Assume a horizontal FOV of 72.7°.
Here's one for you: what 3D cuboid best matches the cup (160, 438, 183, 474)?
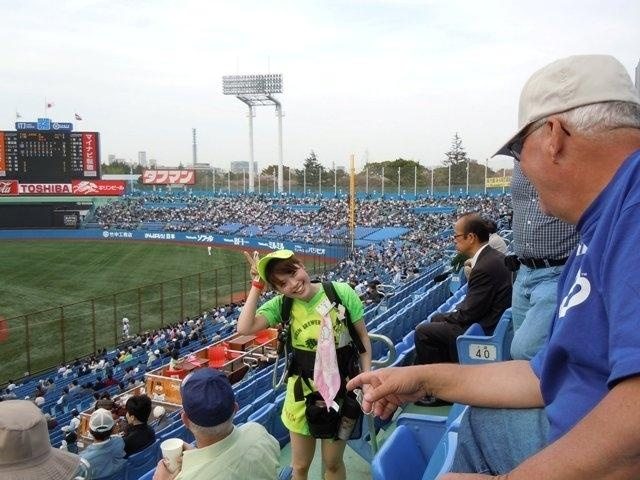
[{"bbox_3d":[-0.814,1.149,2.355,0.148,0.149,0.149,-1,-9,0],"label":"cup"}]

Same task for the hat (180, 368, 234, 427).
[{"bbox_3d":[-0.602,0.780,2.294,0.211,0.124,0.290,-4,23,-18],"label":"hat"}]
